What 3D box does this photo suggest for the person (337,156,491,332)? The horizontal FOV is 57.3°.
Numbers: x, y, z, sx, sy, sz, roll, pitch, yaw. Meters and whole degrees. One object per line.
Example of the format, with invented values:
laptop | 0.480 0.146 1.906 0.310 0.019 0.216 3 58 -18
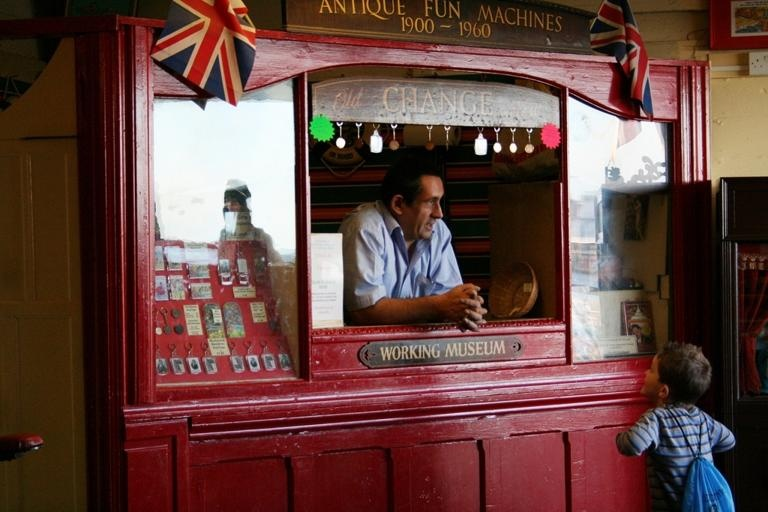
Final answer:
person | 0.098 -0.096 4.529 0.755 0.891 0.719 -4 2 -1
